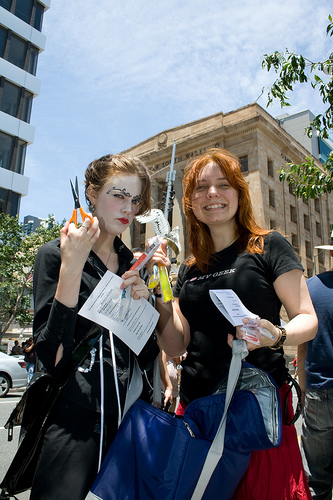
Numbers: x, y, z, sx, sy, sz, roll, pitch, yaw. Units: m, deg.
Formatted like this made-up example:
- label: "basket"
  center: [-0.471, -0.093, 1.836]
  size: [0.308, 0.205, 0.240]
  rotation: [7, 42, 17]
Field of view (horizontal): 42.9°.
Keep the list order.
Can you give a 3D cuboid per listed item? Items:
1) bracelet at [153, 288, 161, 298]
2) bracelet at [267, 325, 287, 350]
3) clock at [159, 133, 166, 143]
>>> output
- label: "bracelet"
  center: [-0.046, 0.220, 2.181]
  size: [0.051, 0.063, 0.026]
  rotation: [0, 2, 5]
- label: "bracelet"
  center: [0.470, 0.373, 1.770]
  size: [0.058, 0.111, 0.205]
  rotation: [2, -7, 15]
- label: "clock"
  center: [-0.339, -9.086, 34.238]
  size: [0.141, 0.849, 0.743]
  rotation: [11, -10, -43]
